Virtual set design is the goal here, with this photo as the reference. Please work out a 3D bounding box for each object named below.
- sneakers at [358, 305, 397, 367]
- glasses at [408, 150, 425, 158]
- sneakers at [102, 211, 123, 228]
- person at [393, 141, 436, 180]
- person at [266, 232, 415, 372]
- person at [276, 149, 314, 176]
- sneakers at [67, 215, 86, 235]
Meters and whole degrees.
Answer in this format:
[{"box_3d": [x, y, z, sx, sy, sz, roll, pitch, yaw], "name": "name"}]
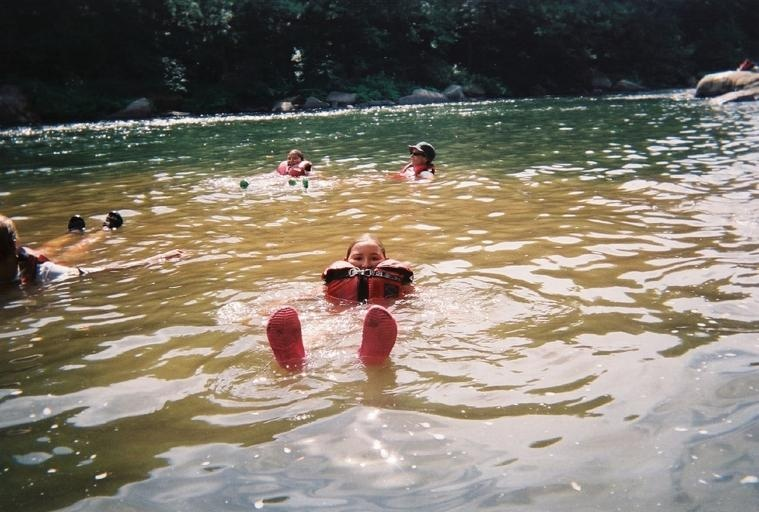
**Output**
[{"box_3d": [-0.066, 0.663, 5.152, 0.310, 0.493, 0.251, 15, 11, -7], "name": "sneakers"}, {"box_3d": [0.719, -1.972, 11.815, 0.297, 0.093, 0.227, 4, -19, -24], "name": "glasses"}, {"box_3d": [-3.750, -0.517, 8.809, 0.298, 0.232, 0.297, 9, 16, 13], "name": "sneakers"}, {"box_3d": [0.698, -1.818, 11.739, 0.712, 0.648, 0.851, -5, 14, 3], "name": "person"}, {"box_3d": [-0.179, 0.383, 6.083, 1.684, 0.474, 1.679, 2, 26, 14], "name": "person"}, {"box_3d": [-1.628, -1.740, 11.847, 0.793, 0.245, 0.710, 2, 29, 5], "name": "person"}, {"box_3d": [-4.290, -0.437, 8.773, 0.323, 0.254, 0.139, -1, -10, -18], "name": "sneakers"}]
